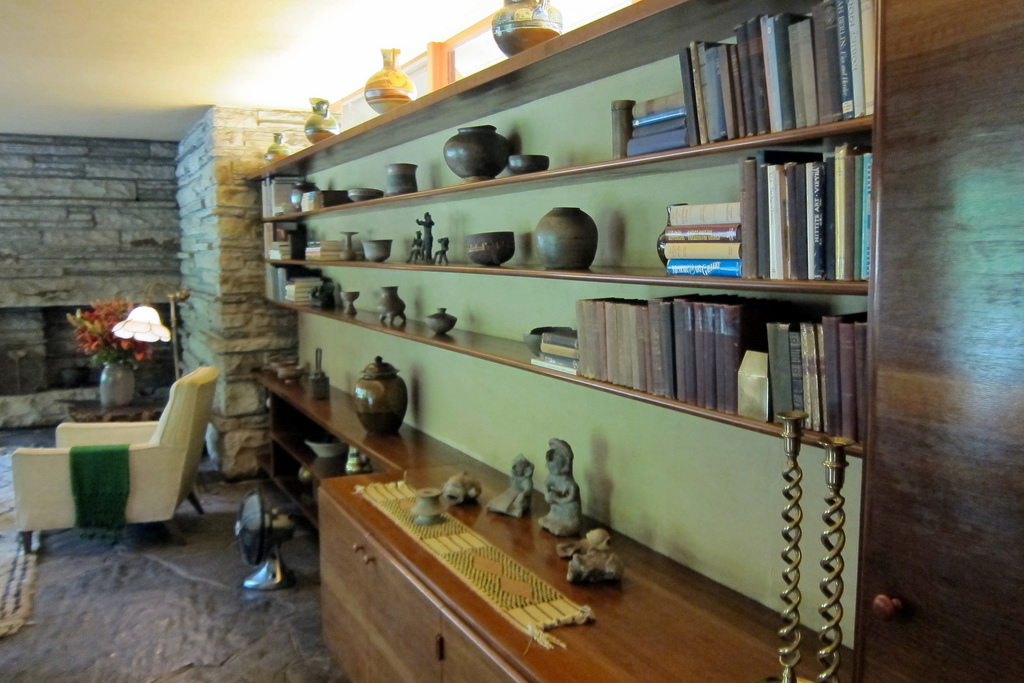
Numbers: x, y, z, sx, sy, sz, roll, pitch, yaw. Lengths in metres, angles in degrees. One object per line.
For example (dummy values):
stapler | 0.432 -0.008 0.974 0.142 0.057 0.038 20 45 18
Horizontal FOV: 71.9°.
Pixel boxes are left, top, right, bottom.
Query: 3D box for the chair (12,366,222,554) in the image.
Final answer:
chair | -2.581 0.722 4.947 1.481 1.224 1.019 2 0 -7

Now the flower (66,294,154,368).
flower | -3.378 -0.060 5.918 0.468 0.511 0.686 -9 16 -37
